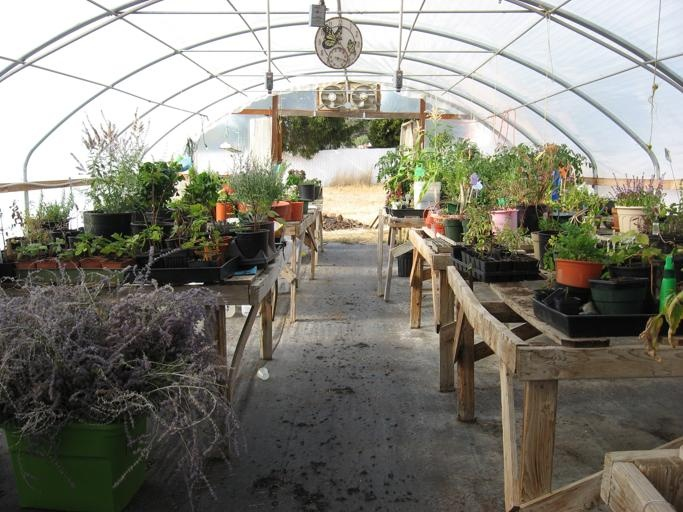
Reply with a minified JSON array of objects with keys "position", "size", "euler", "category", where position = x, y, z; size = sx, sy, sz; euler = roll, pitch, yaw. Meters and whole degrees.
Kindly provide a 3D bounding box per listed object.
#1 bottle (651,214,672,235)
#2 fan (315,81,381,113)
[{"position":[2.070,-0.201,3.009],"size":[0.069,0.098,0.130],"euler":[-8,5,28],"category":"bottle"},{"position":[0.193,-4.183,12.071],"size":[1.646,0.841,1.996],"euler":[-2,12,-6],"category":"fan"}]
